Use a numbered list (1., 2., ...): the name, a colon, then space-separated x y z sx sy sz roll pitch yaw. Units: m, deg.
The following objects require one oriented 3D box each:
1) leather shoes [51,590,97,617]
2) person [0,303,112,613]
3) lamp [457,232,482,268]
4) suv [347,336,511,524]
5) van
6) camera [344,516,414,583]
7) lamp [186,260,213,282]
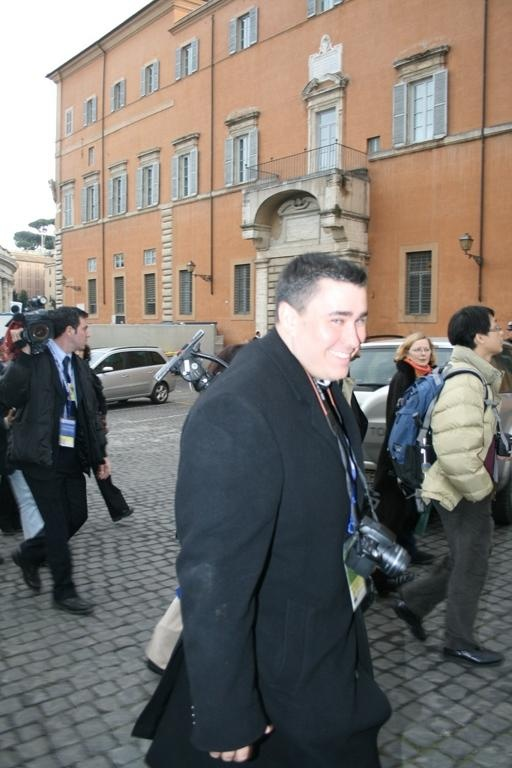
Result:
1. leather shoes: -1.104 1.312 4.041 0.231 0.090 0.108 3 1 22
2. person: -1.198 0.448 4.075 0.623 1.832 0.413 -2 3 -31
3. lamp: 5.645 -3.668 18.122 0.691 0.940 0.771 2 4 41
4. suv: 1.523 0.309 6.108 1.219 1.228 2.164 -1 14 44
5. van: -3.122 -0.211 16.122 2.986 1.393 1.687 -2 2 -38
6. camera: 0.268 0.430 1.614 0.183 0.081 0.130 35 39 -2
7. lamp: -2.343 -4.789 28.147 0.347 0.667 1.051 10 14 34
